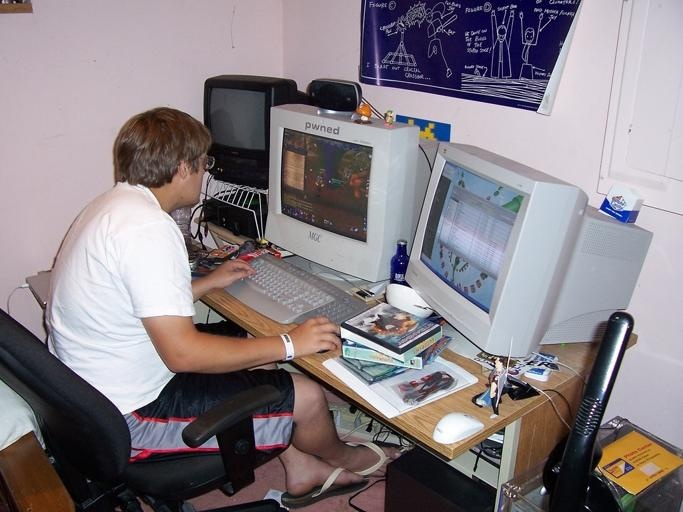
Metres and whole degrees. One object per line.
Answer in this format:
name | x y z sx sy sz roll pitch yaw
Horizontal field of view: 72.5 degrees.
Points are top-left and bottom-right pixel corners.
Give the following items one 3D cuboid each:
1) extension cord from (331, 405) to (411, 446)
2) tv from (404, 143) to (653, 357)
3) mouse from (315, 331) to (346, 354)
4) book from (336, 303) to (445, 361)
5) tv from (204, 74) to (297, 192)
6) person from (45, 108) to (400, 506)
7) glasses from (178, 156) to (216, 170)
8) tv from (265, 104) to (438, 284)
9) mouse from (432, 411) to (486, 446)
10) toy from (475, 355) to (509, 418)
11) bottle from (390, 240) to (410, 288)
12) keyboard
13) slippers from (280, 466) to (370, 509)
extension cord | 0.087 0.776 2.108 0.243 0.059 0.162 23 -1 22
tv | 0.539 -0.082 1.551 0.648 0.635 0.663 -18 38 -15
mouse | -0.032 0.277 1.441 0.025 0.076 0.056 26 6 -13
book | 0.154 0.218 1.371 0.168 0.040 0.169 -19 32 -35
tv | -0.394 -0.554 2.037 0.389 0.539 0.291 24 27 32
person | -0.365 -0.122 1.991 1.413 1.657 0.890 -9 31 -25
glasses | -0.468 -0.303 1.487 0.086 0.028 0.084 18 28 32
tv | 0.025 -0.222 1.737 0.509 0.484 0.292 31 33 25
mouse | 0.283 0.416 1.158 0.105 0.035 0.064 -15 27 -31
toy | 0.412 0.365 1.278 0.064 0.111 0.088 15 33 9
bottle | 0.209 0.027 1.694 0.077 0.201 0.076 2 29 -1
keyboard | -0.188 0.129 1.679 0.198 0.057 0.409 -27 37 -33
slippers | -0.064 0.907 1.876 0.367 0.103 0.143 -13 28 -15
